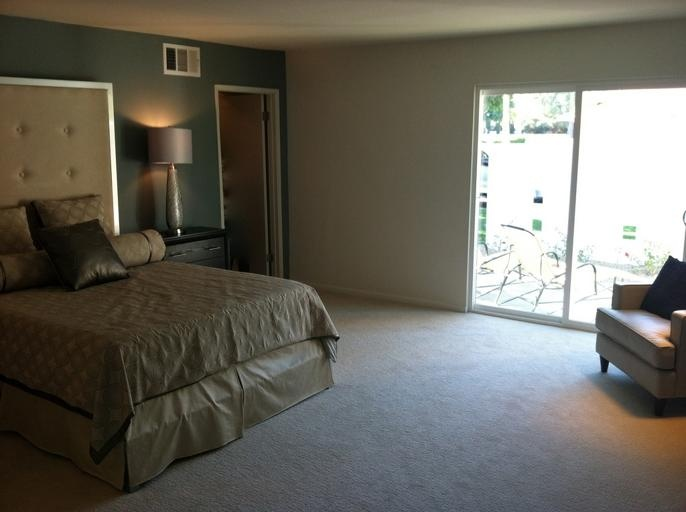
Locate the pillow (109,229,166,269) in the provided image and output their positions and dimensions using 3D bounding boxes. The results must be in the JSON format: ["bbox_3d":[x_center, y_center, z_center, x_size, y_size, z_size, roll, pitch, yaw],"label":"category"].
[{"bbox_3d":[-1.850,-0.078,4.721,0.433,0.267,0.310,-18,45,-43],"label":"pillow"}]

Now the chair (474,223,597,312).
[{"bbox_3d":[2.156,0.164,5.757,0.997,0.973,0.947,-11,15,-44],"label":"chair"}]

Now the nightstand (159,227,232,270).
[{"bbox_3d":[-1.561,0.074,5.503,0.388,0.658,0.678,9,16,33],"label":"nightstand"}]
